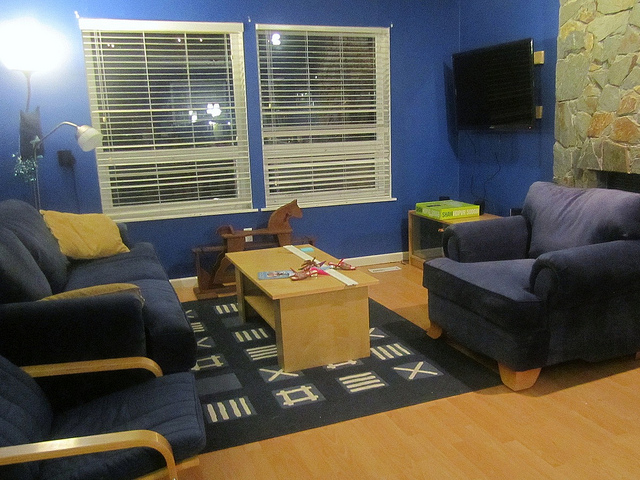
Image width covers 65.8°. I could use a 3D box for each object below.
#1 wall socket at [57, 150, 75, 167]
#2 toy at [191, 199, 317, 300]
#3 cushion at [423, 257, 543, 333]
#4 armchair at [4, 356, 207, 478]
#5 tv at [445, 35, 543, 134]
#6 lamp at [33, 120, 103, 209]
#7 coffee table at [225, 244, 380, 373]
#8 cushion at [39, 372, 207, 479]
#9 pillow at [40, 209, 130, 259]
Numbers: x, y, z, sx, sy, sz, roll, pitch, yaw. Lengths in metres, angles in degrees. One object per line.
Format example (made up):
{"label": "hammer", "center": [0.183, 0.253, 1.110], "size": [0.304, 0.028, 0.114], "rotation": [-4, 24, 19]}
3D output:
{"label": "wall socket", "center": [-2.273, -0.731, 4.423], "size": [0.150, 0.138, 0.036], "rotation": [-9, 10, -24]}
{"label": "toy", "center": [-0.597, 0.067, 4.824], "size": [1.228, 0.854, 0.397], "rotation": [-6, 8, -5]}
{"label": "cushion", "center": [1.062, 0.315, 3.117], "size": [0.519, 0.123, 0.487], "rotation": [-6, 12, -23]}
{"label": "armchair", "center": [-0.954, 0.767, 2.138], "size": [0.657, 0.486, 0.454], "rotation": [-8, 20, -18]}
{"label": "tv", "center": [1.692, -1.473, 4.840], "size": [0.124, 0.801, 1.084], "rotation": [-16, 18, -21]}
{"label": "lamp", "center": [-2.113, -0.661, 4.241], "size": [0.795, 0.732, 0.401], "rotation": [2, 16, 33]}
{"label": "coffee table", "center": [-0.161, 0.175, 3.398], "size": [0.772, 0.579, 1.198], "rotation": [-5, 15, -23]}
{"label": "cushion", "center": [-0.828, 0.807, 2.143], "size": [0.453, 0.119, 0.452], "rotation": [-17, 15, -12]}
{"label": "pillow", "center": [-1.989, -0.100, 4.195], "size": [0.672, 0.170, 0.696], "rotation": [13, 30, -18]}
